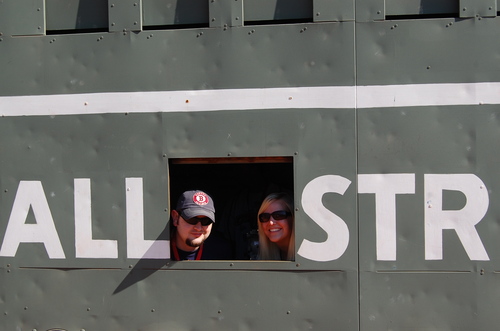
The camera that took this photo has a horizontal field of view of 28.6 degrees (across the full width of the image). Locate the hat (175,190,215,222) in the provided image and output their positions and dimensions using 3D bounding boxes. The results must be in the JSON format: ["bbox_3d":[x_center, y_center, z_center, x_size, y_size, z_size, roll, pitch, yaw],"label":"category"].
[{"bbox_3d":[-0.479,0.364,8.644,0.216,0.186,0.316,9,-3,-19],"label":"hat"}]
